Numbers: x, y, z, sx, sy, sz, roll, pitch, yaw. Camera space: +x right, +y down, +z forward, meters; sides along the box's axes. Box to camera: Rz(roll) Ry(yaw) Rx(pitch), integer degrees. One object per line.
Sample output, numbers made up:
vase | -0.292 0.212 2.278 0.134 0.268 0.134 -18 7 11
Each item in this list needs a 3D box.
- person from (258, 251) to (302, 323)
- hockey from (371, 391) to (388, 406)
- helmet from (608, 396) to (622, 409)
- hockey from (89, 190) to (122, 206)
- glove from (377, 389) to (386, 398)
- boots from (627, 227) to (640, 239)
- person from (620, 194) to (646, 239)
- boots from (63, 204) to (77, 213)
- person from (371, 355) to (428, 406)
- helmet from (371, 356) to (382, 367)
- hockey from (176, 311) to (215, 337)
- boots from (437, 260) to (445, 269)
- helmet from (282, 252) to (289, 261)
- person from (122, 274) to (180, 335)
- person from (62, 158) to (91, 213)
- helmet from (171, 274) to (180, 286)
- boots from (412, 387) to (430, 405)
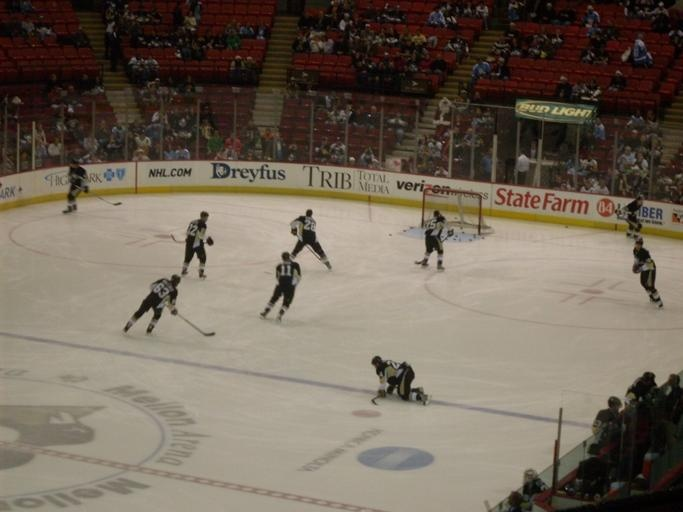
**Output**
person | -1.403 0.634 22.574 0.846 1.628 1.444 -1 13 -5
hockey | 0.714 2.726 19.116 0.235 0.071 0.261 -39 7 -1
helmet | 4.528 2.435 16.483 0.255 0.223 0.179 -11 7 12
hockey | -7.807 -1.891 32.511 1.764 0.191 0.207 16 42 41
glove | 0.771 2.650 19.124 0.187 0.160 0.140 10 15 28
boots | 8.772 -0.680 29.773 0.354 0.312 0.354 0 16 7
person | 8.604 -1.132 29.302 0.587 1.423 1.728 5 13 16
boots | -8.387 -1.446 30.626 0.501 0.313 0.188 9 22 19
person | 1.209 2.286 19.128 1.292 0.750 0.694 16 34 30
helmet | 0.678 2.001 18.824 0.168 0.226 0.186 2 13 4
hockey | -3.302 1.425 21.806 1.208 0.091 0.392 21 17 38
boots | 2.624 0.232 26.511 0.227 0.223 0.237 2 6 41
helmet | -1.233 -0.005 22.091 0.149 0.182 0.368 0 12 -3
person | -4.123 1.041 21.346 1.096 1.379 1.220 -4 13 -21
person | -8.241 -2.147 30.577 0.754 1.636 1.259 -3 13 -15
helmet | -3.521 0.509 21.080 0.206 0.238 0.077 11 -9 0
boots | 1.500 2.659 18.880 0.190 0.191 0.478 -9 21 -21
